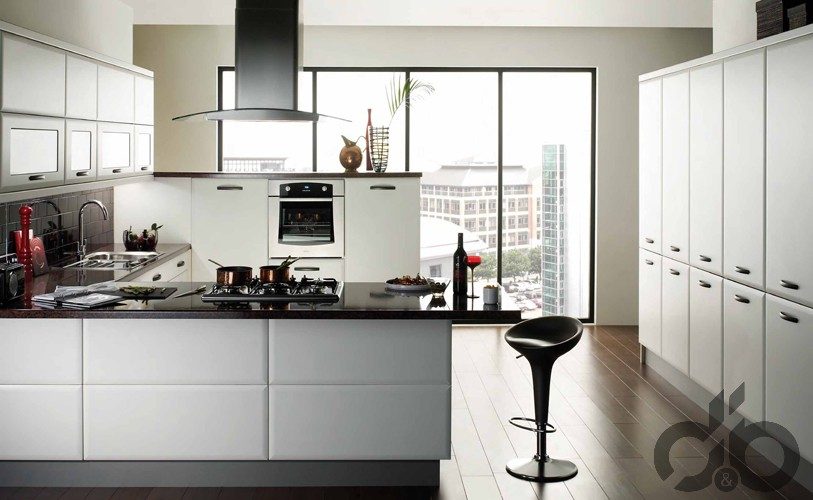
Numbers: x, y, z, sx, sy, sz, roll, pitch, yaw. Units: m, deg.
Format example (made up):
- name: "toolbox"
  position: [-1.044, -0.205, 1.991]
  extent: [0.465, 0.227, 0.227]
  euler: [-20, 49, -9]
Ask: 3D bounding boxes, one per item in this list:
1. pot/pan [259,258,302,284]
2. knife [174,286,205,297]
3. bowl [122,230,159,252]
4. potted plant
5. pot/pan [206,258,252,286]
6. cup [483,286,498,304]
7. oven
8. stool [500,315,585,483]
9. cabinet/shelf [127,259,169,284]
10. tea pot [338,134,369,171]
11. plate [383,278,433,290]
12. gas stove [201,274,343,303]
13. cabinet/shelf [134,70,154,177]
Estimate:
- name: "pot/pan"
  position: [-1.094, 0.156, 4.634]
  extent: [0.337, 0.217, 0.216]
  euler: [0, 0, 3]
- name: "knife"
  position: [-1.653, 0.312, 4.516]
  extent: [0.224, 0.032, 0.057]
  euler: [-9, 17, -22]
- name: "bowl"
  position: [-2.856, -0.122, 6.365]
  extent: [0.300, 0.201, 0.273]
  euler: [0, 2, -35]
- name: "potted plant"
  position: [-0.158, -1.601, 7.350]
  extent: [0.576, 1.159, 1.094]
  euler: [6, 14, 25]
- name: "pot/pan"
  position: [-1.414, 0.182, 4.612]
  extent: [0.359, 0.137, 0.220]
  euler: [2, 4, 27]
- name: "cup"
  position: [0.616, 0.325, 4.303]
  extent: [0.118, 0.132, 0.124]
  euler: [0, 6, 0]
- name: "oven"
  position: [-1.210, -0.124, 7.136]
  extent: [0.895, 1.219, 0.686]
  euler: [0, -5, -11]
- name: "stool"
  position: [1.035, 1.104, 4.496]
  extent: [0.578, 1.147, 0.527]
  euler: [1, 13, 6]
- name: "cabinet/shelf"
  position: [-2.460, 0.219, 5.677]
  extent: [0.134, 0.235, 0.249]
  euler: [1, 4, 2]
- name: "tea pot"
  position: [-0.620, -1.150, 7.081]
  extent: [0.346, 0.410, 0.546]
  euler: [-5, 14, -21]
- name: "plate"
  position: [0.011, 0.276, 4.654]
  extent: [0.359, 0.085, 0.214]
  euler: [-1, 13, -3]
- name: "gas stove"
  position: [-0.999, 0.303, 4.453]
  extent: [1.019, 0.089, 0.513]
  euler: [-1, 13, -6]
- name: "cabinet/shelf"
  position: [-2.717, -1.293, 6.110]
  extent: [0.145, 0.977, 0.459]
  euler: [-2, 13, -7]
